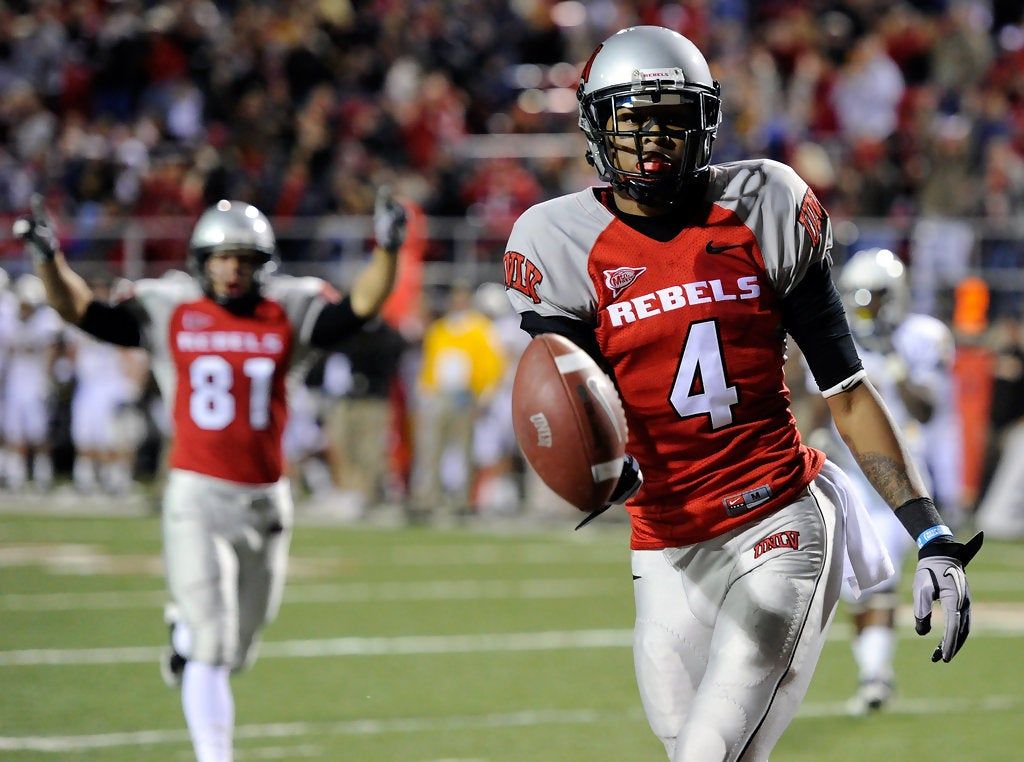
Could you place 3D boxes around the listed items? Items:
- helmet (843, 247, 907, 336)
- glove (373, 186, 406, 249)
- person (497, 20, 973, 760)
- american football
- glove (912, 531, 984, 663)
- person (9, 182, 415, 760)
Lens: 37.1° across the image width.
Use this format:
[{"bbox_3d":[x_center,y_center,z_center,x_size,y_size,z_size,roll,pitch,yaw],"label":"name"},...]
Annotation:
[{"bbox_3d":[2.128,-0.517,9.037,0.362,0.513,0.492,-2,2,2],"label":"helmet"},{"bbox_3d":[-0.519,-0.686,6.399,0.137,0.255,0.064,1,8,1],"label":"glove"},{"bbox_3d":[0.685,0.035,4.966,1.419,2.333,0.503,2,4,-1],"label":"person"},{"bbox_3d":[0.171,0.126,4.888,0.324,0.538,0.352,-36,-19,21],"label":"american football"},{"bbox_3d":[1.391,0.680,4.884,0.175,0.446,0.121,5,-1,7],"label":"glove"},{"bbox_3d":[-1.258,0.306,6.484,1.295,2.284,0.893,5,5,40],"label":"person"}]
